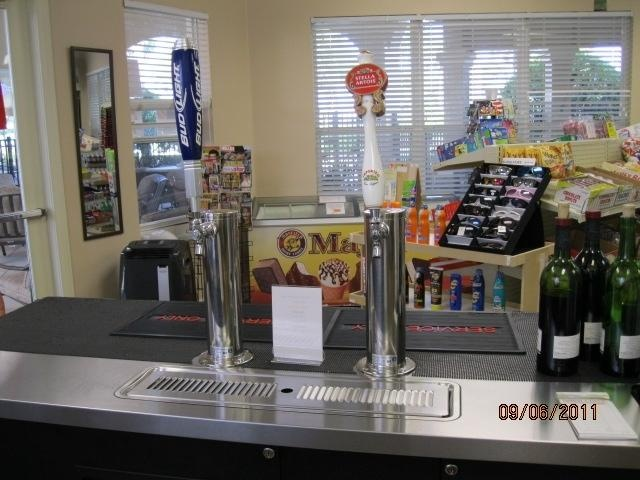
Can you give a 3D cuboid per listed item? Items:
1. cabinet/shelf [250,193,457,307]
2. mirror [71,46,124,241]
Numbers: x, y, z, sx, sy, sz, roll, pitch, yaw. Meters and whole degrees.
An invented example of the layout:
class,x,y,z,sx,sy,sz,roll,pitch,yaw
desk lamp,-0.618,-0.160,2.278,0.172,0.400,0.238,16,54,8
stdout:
class,x,y,z,sx,sy,sz,roll,pitch,yaw
cabinet/shelf,0.230,0.040,5.284,1.691,1.759,0.910,0,1,5
mirror,-1.709,-0.729,4.210,0.096,1.418,0.436,2,12,25
